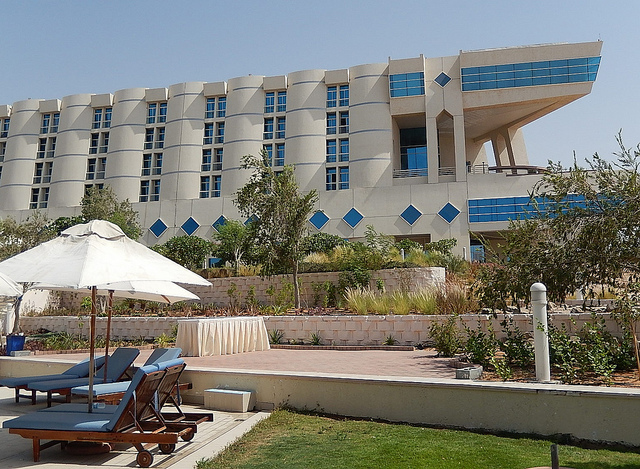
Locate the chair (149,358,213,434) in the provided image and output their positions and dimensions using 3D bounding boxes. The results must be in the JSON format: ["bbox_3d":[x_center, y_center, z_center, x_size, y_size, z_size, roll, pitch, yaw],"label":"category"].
[{"bbox_3d":[-2.607,3.047,10.322,1.137,0.994,1.198,30,-20,-28],"label":"chair"}]

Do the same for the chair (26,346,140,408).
[{"bbox_3d":[-5.032,3.093,12.015,1.039,1.278,2.103,-7,-11,40],"label":"chair"}]

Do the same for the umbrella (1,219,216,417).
[{"bbox_3d":[-4.174,1.328,10.923,3.345,2.609,3.306,0,-8,-6],"label":"umbrella"}]

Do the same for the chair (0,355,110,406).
[{"bbox_3d":[-5.827,3.121,12.442,1.250,1.048,2.222,-9,-14,41],"label":"chair"}]

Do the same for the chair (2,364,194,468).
[{"bbox_3d":[-3.629,3.021,9.618,2.756,1.523,0.864,-1,-10,1],"label":"chair"}]
